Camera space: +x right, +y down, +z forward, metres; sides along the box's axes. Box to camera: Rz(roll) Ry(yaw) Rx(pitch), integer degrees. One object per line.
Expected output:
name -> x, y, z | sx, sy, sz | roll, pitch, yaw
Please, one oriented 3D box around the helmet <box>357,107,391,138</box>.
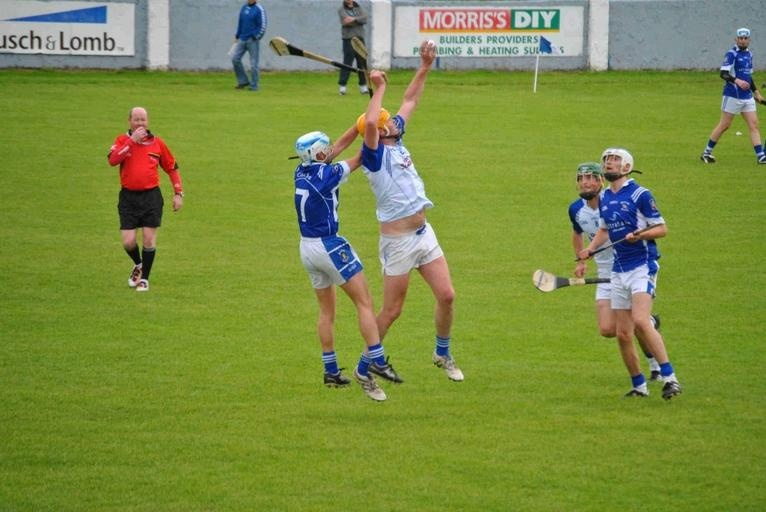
helmet -> -0.189, -2.420, 26.231 | 0.531, 0.589, 0.434 | -4, 19, -7
